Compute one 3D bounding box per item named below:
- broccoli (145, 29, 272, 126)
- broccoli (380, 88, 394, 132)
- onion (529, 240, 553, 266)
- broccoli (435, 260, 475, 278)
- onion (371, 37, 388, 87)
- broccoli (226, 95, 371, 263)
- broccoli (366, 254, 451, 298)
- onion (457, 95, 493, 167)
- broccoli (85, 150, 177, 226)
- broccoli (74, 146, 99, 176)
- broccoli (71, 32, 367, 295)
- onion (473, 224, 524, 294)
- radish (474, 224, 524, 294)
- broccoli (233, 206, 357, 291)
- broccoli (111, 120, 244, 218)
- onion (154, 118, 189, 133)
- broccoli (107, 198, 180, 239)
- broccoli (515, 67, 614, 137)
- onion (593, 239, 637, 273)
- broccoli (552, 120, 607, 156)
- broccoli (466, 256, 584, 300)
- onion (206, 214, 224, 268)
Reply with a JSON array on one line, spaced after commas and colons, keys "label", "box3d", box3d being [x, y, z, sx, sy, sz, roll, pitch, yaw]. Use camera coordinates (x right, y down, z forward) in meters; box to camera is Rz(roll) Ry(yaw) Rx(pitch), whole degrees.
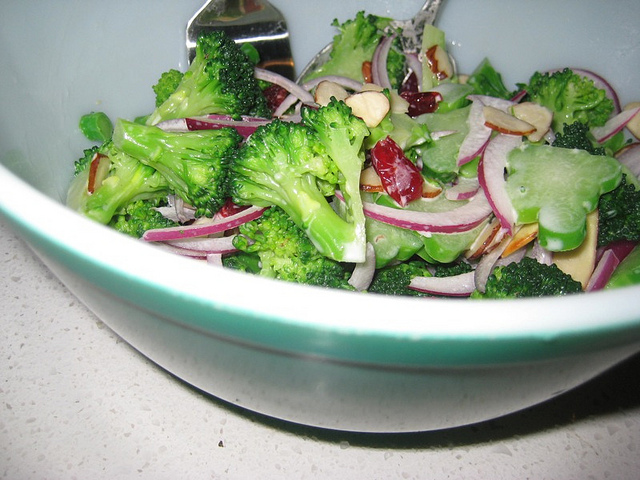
[{"label": "broccoli", "box3d": [-0.234, -0.332, 1.330, 0.242, 0.183, 0.145, -26, -7, -6]}, {"label": "broccoli", "box3d": [0.135, -0.258, 1.166, 0.026, 0.090, 0.023, 1, 4, 5]}, {"label": "onion", "box3d": [0.424, 0.023, 1.114, 0.011, 0.042, 0.042, 1, 11, -25]}, {"label": "broccoli", "box3d": [0.266, 0.060, 1.162, 0.055, 0.014, 0.035, -12, 54, -12]}, {"label": "onion", "box3d": [0.148, -0.446, 1.442, 0.035, 0.118, 0.073, 3, 14, 5]}, {"label": "broccoli", "box3d": [-0.031, -0.100, 1.036, 0.191, 0.116, 0.161, -8, -8, -19]}, {"label": "broccoli", "box3d": [0.172, 0.072, 1.133, 0.108, 0.036, 0.088, 26, 6, -20]}, {"label": "onion", "box3d": [0.324, -0.232, 1.211, 0.051, 0.022, 0.179, 5, -39, 9]}, {"label": "broccoli", "box3d": [-0.371, -0.104, 1.133, 0.055, 0.155, 0.186, 33, 30, 16]}, {"label": "broccoli", "box3d": [-0.480, -0.163, 1.189, 0.017, 0.055, 0.048, 42, -9, -29]}, {"label": "broccoli", "box3d": [-0.163, -0.187, 1.187, 0.589, 0.466, 0.382, 6, 14, 14]}, {"label": "onion", "box3d": [0.339, 0.048, 1.170, 0.058, 0.152, 0.041, 43, 10, 37]}, {"label": "radish", "box3d": [0.373, 0.037, 1.139, 0.034, 0.138, 0.049, -26, 22, 30]}, {"label": "broccoli", "box3d": [-0.062, 0.028, 1.113, 0.236, 0.094, 0.186, 12, 9, 23]}, {"label": "broccoli", "box3d": [-0.245, -0.131, 1.089, 0.206, 0.178, 0.087, 6, -20, 7]}, {"label": "onion", "box3d": [-0.294, -0.233, 1.175, 0.051, 0.042, 0.012, 1, -25, -10]}, {"label": "broccoli", "box3d": [-0.349, -0.058, 1.162, 0.143, 0.038, 0.136, 4, -18, 3]}, {"label": "broccoli", "box3d": [0.576, -0.330, 1.330, 0.189, 0.076, 0.195, 19, 11, -34]}, {"label": "onion", "box3d": [0.570, 0.029, 1.121, 0.060, 0.019, 0.060, -21, 50, -9]}, {"label": "broccoli", "box3d": [0.528, -0.214, 1.161, 0.085, 0.091, 0.027, 12, -25, -9]}, {"label": "broccoli", "box3d": [0.371, 0.076, 1.041, 0.130, 0.052, 0.135, -20, -5, 22]}, {"label": "onion", "box3d": [-0.197, 0.007, 1.079, 0.027, 0.107, 0.104, -3, -16, -6]}]
